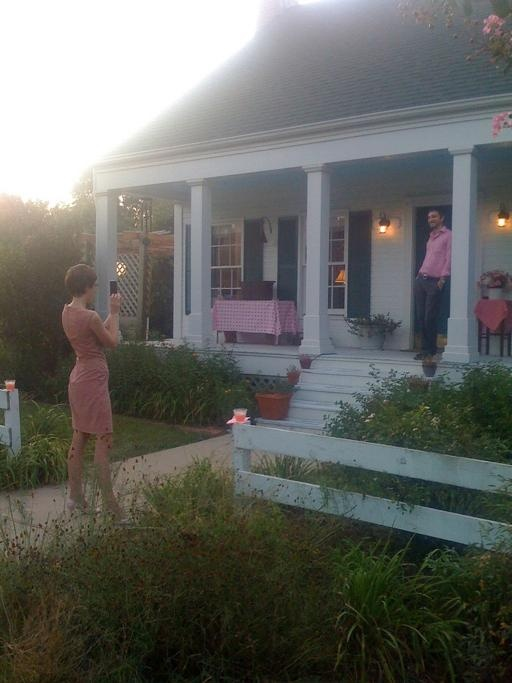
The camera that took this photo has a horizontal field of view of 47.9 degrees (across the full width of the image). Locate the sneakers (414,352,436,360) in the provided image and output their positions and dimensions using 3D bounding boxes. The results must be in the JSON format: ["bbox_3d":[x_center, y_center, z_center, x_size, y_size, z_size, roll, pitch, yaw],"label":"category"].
[{"bbox_3d":[2.116,0.186,7.246,0.211,0.121,0.084,2,8,9],"label":"sneakers"}]

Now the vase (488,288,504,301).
[{"bbox_3d":[3.482,-0.693,8.424,0.184,0.178,0.214,0,-4,-8],"label":"vase"}]

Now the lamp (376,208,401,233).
[{"bbox_3d":[2.197,-2.028,9.764,0.453,0.449,0.218,2,3,28],"label":"lamp"}]

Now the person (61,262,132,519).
[{"bbox_3d":[-1.056,0.301,3.724,0.361,1.643,1.191,-1,3,-16],"label":"person"}]

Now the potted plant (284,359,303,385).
[{"bbox_3d":[0.496,0.422,7.918,0.227,0.456,0.241,3,-8,-6],"label":"potted plant"}]

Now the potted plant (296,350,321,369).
[{"bbox_3d":[0.719,0.275,8.026,0.308,0.203,0.252,1,4,12],"label":"potted plant"}]

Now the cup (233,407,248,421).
[{"bbox_3d":[-0.094,0.436,3.447,0.068,0.076,0.235,0,4,-4],"label":"cup"}]

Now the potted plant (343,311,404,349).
[{"bbox_3d":[1.946,-0.175,9.708,0.900,0.570,0.619,1,4,16],"label":"potted plant"}]

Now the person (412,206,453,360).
[{"bbox_3d":[2.217,-0.694,7.275,0.402,1.845,0.726,1,3,16],"label":"person"}]

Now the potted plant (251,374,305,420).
[{"bbox_3d":[0.207,0.658,7.581,0.524,0.840,0.512,0,-2,17],"label":"potted plant"}]
